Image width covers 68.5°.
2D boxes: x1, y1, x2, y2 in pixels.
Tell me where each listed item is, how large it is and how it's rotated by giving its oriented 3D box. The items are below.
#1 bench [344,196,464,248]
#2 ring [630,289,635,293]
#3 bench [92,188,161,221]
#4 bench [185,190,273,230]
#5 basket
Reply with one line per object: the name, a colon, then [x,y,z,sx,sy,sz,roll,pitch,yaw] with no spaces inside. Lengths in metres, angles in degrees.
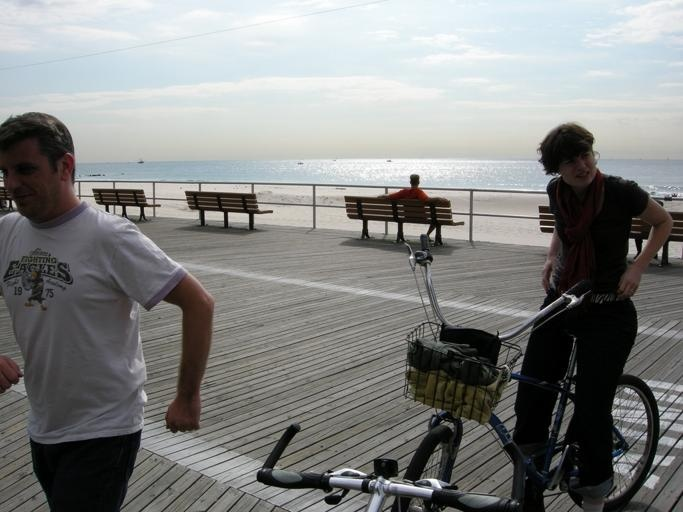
bench: [1.477,-0.915,12.461,2.846,0.980,0.850,6,3,35]
ring: [1.415,0.167,2.442,0.017,0.005,0.012,-43,-11,-8]
bench: [-7.225,-1.723,16.804,2.597,0.956,0.869,5,1,27]
bench: [-3.354,-1.364,14.775,2.731,0.989,0.957,6,3,28]
basket: [0.510,0.512,2.202,0.447,0.277,0.561,12,-20,19]
